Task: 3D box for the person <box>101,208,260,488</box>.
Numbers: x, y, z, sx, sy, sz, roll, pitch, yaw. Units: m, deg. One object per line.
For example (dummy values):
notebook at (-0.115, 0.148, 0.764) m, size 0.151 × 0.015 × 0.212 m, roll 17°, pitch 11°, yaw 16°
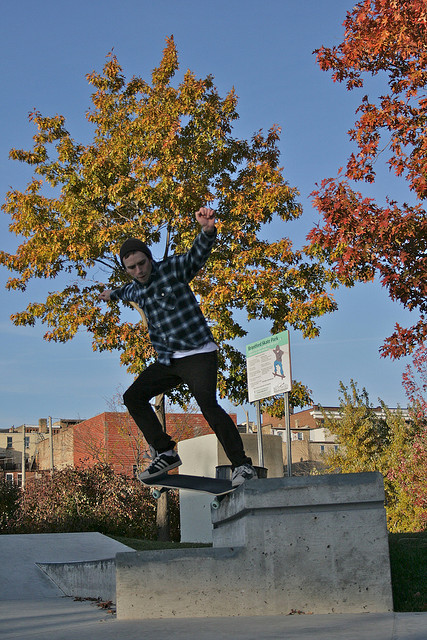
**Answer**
person at (-0.254, 0.261, 5.869) m, size 1.063 × 1.791 × 0.664 m, roll -11°, pitch -13°, yaw 31°
